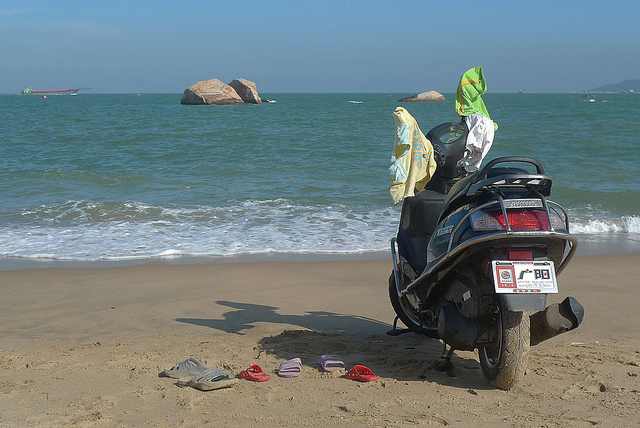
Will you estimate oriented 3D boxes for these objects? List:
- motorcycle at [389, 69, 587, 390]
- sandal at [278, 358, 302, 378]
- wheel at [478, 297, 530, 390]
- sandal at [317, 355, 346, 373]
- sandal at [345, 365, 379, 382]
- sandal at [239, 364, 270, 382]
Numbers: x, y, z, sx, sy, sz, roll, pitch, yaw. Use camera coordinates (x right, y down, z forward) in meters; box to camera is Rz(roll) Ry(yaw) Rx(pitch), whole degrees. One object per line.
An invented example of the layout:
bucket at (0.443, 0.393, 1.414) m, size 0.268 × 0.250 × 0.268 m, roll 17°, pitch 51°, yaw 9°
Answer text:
motorcycle at (1.648, 0.290, 7.610) m, size 1.718 × 2.858 × 1.920 m, roll -3°, pitch 8°, yaw 1°
sandal at (-0.316, 1.600, 7.404) m, size 0.239 × 0.157 × 0.173 m, roll -2°, pitch 7°, yaw -2°
wheel at (1.814, 1.289, 7.111) m, size 0.276 × 0.950 × 0.512 m, roll -11°, pitch 11°, yaw -43°
sandal at (0.111, 1.576, 7.543) m, size 0.319 × 0.127 × 0.251 m, roll -1°, pitch 6°, yaw 8°
sandal at (0.438, 1.646, 7.313) m, size 0.285 × 0.076 × 0.154 m, roll -2°, pitch 0°, yaw 42°
sandal at (-0.675, 1.626, 7.293) m, size 0.164 × 0.081 × 0.285 m, roll -2°, pitch 1°, yaw -30°
